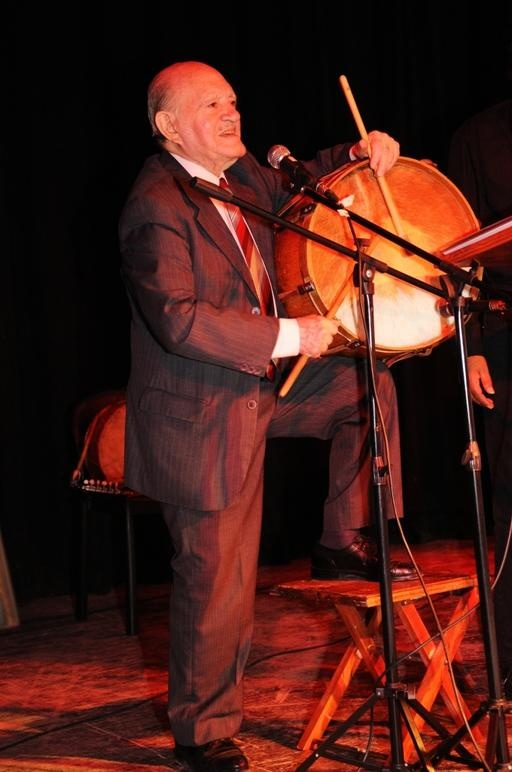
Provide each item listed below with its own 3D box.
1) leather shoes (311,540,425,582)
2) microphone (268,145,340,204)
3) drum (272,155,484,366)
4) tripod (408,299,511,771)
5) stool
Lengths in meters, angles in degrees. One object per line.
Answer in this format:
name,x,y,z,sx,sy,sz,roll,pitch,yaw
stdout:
leather shoes,0.277,0.414,1.889,0.293,0.118,0.103,-4,-9,19
microphone,0.101,-0.393,1.471,0.199,0.052,0.053,37,-15,29
drum,0.277,-0.239,1.919,0.408,0.545,0.190,-45,9,-15
tripod,0.384,0.294,1.488,0.154,0.902,0.299,-3,-5,12
stool,0.376,0.641,1.957,0.524,0.421,0.497,-5,-5,-29
